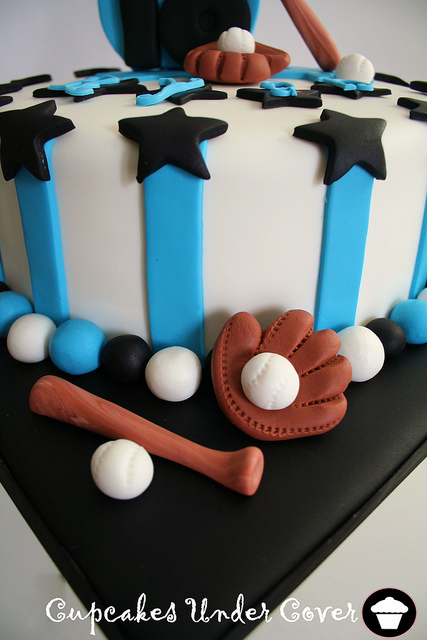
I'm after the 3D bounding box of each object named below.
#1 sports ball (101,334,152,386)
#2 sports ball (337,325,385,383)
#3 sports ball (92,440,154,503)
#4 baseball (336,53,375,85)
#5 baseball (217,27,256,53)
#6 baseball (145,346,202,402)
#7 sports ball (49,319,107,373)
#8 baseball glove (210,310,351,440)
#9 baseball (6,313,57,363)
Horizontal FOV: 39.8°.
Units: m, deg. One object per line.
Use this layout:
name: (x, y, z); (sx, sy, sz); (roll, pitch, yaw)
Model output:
sports ball: (-0.176, 0.079, 1.247); (0.118, 0.080, 0.107); (13, 19, 15)
sports ball: (0.304, 0.073, 1.275); (0.112, 0.122, 0.103); (-5, 42, 5)
sports ball: (-0.151, 0.247, 0.963); (0.086, 0.078, 0.103); (-8, 7, -16)
baseball: (0.363, -0.648, 1.515); (0.095, 0.068, 0.063); (9, 34, 7)
baseball: (0.058, -0.693, 1.464); (0.084, 0.078, 0.074); (-4, 66, 3)
baseball: (-0.077, 0.106, 1.155); (0.103, 0.082, 0.108); (-2, 23, 0)
sports ball: (-0.280, 0.055, 1.282); (0.114, 0.104, 0.105); (-2, 50, 2)
baseball glove: (0.125, 0.092, 1.141); (0.311, 0.249, 0.082); (-12, -6, -22)
baseball: (-0.398, 0.041, 1.309); (0.107, 0.088, 0.081); (-23, 42, -34)
